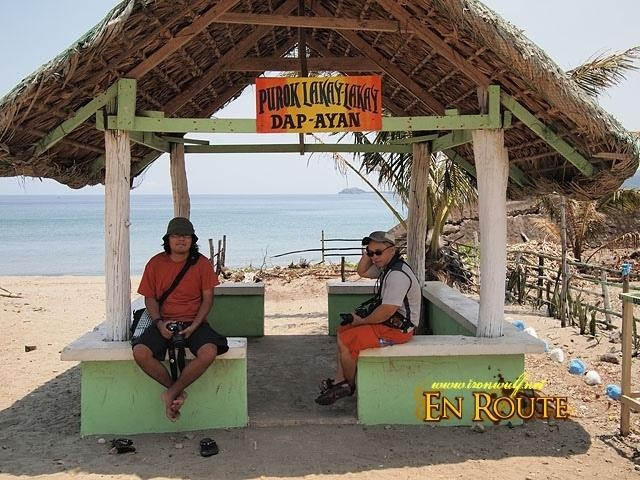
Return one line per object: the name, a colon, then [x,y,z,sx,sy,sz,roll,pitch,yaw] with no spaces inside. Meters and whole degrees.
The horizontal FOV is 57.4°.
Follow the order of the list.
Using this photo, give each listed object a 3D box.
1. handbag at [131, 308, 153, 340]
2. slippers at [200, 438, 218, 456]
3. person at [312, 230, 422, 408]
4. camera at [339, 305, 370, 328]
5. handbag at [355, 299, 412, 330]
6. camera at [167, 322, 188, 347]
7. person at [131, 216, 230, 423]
handbag: [-1.960,0.944,6.335,0.099,0.318,0.277,39,32,24]
slippers: [-1.118,2.083,5.870,0.113,0.100,0.172,0,-9,-4]
person: [0.580,0.884,6.556,1.111,1.946,0.496,1,1,1]
camera: [0.399,0.849,6.589,0.289,0.147,0.255,-9,-1,-27]
handbag: [0.737,0.850,6.473,0.436,0.164,0.408,10,3,5]
camera: [-1.476,0.962,5.953,0.227,0.219,0.146,-6,-7,28]
person: [-1.497,0.793,6.197,0.927,2.049,0.666,1,1,-15]
